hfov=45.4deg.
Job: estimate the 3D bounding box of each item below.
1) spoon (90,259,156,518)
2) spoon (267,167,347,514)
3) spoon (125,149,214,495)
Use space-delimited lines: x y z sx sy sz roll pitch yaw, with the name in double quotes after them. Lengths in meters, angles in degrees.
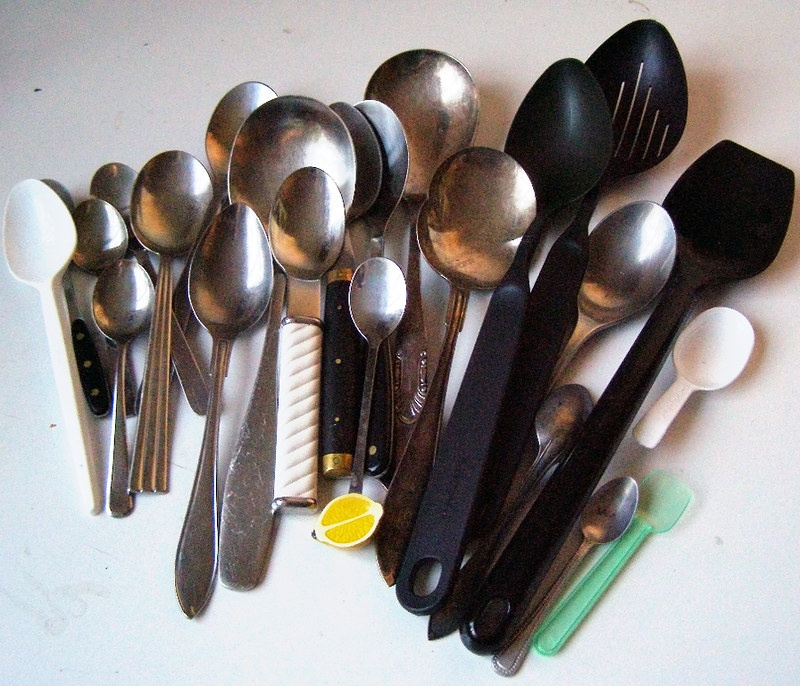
-0.363 0.049 1.231 0.067 0.027 0.349 0 74 -4 "spoon"
-0.114 -0.032 1.242 0.080 0.062 0.475 -10 64 29 "spoon"
-0.312 -0.056 1.318 0.082 0.058 0.504 2 69 -2 "spoon"
